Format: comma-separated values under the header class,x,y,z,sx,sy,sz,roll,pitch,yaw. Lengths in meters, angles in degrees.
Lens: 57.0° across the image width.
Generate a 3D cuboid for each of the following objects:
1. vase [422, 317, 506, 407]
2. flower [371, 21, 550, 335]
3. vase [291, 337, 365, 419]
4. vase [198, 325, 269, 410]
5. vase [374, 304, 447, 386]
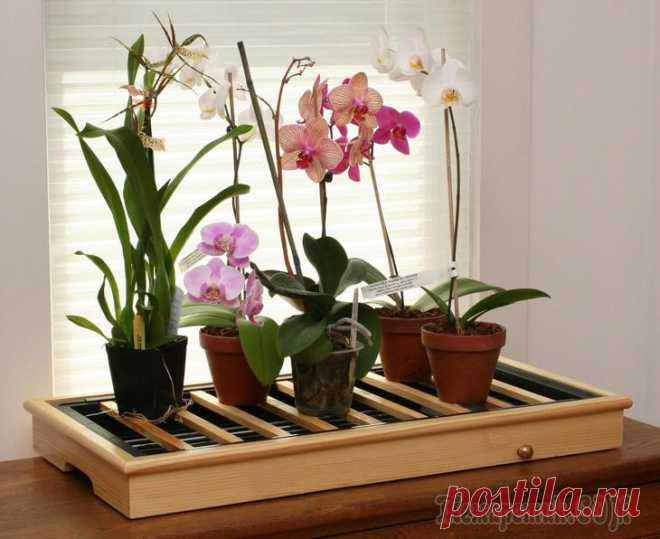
class,x,y,z,sx,sy,sz,roll,pitch,yaw
vase,0.219,0.161,1.031,0.145,0.105,0.140,0,-5,25
flower,0.275,-0.157,1.226,0.271,0.569,0.576,-2,8,16
vase,-0.020,0.176,0.958,0.120,0.089,0.109,6,-10,-41
vase,-0.158,0.168,1.039,0.133,0.107,0.124,0,3,-6
vase,0.132,0.145,1.166,0.149,0.120,0.140,0,0,-3
